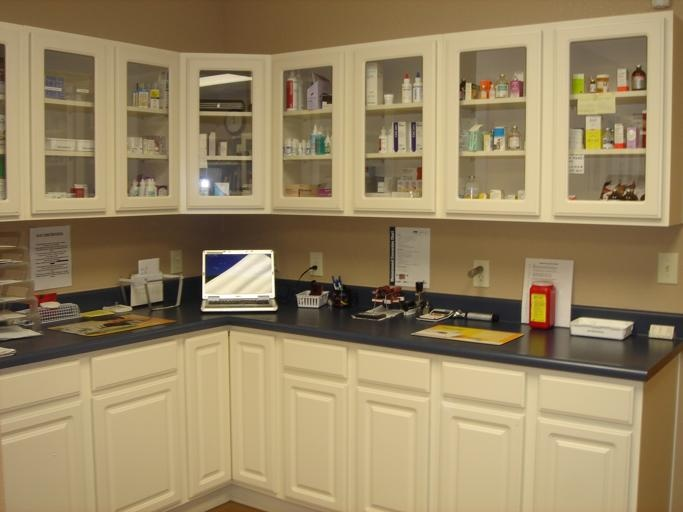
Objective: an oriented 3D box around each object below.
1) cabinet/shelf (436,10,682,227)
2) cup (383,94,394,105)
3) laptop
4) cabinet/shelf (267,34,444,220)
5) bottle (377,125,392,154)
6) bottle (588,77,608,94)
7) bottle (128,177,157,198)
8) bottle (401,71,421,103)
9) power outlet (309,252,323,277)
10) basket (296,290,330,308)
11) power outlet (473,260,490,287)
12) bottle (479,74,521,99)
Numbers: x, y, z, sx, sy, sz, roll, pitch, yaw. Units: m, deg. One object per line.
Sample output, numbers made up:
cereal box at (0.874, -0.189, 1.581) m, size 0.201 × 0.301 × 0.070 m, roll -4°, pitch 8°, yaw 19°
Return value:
cabinet/shelf at (1.093, -0.668, 2.817) m, size 1.214 × 0.992 × 0.381 m, roll 1°, pitch 1°, yaw 27°
cup at (0.265, -0.871, 3.234) m, size 0.061 × 0.055 × 0.061 m, roll 0°, pitch -1°, yaw 0°
laptop at (-0.630, 0.146, 3.598) m, size 0.556 × 0.380 × 0.357 m, roll 0°, pitch 0°, yaw -5°
cabinet/shelf at (0.104, -0.732, 3.292) m, size 1.213 × 1.051 × 0.382 m, roll 1°, pitch 1°, yaw 25°
bottle at (0.254, -0.656, 3.248) m, size 0.079 × 0.144 × 0.025 m, roll 1°, pitch 7°, yaw 18°
bottle at (1.219, -0.816, 2.732) m, size 0.084 × 0.086 × 0.028 m, roll 1°, pitch 7°, yaw 18°
bottle at (-1.147, -0.405, 3.368) m, size 0.138 × 0.144 × 0.091 m, roll -7°, pitch 11°, yaw -44°
bottle at (0.381, -0.917, 3.143) m, size 0.126 × 0.167 × 0.023 m, roll 3°, pitch 8°, yaw 32°
power outlet at (-0.170, 0.050, 3.885) m, size 0.108 × 0.160 × 0.027 m, roll 3°, pitch 8°, yaw 33°
basket at (-0.174, 0.262, 3.673) m, size 0.176 × 0.086 × 0.278 m, roll 0°, pitch 7°, yaw 14°
power outlet at (0.816, 0.102, 3.369) m, size 0.098 × 0.164 × 0.018 m, roll 2°, pitch 8°, yaw 28°
bottle at (0.812, -0.864, 2.926) m, size 0.152 × 0.088 × 0.063 m, roll 1°, pitch 1°, yaw 36°
